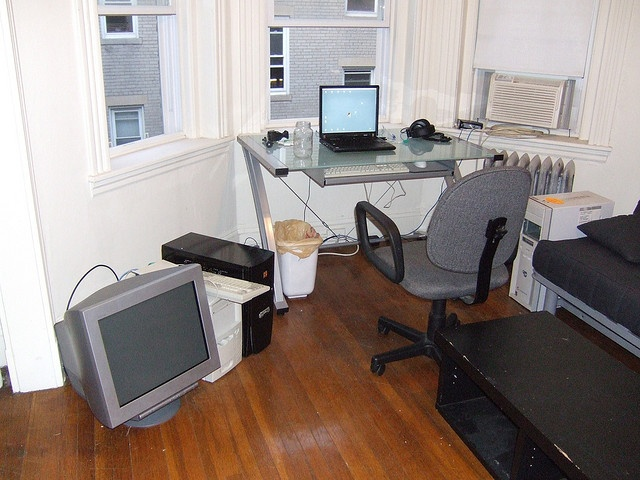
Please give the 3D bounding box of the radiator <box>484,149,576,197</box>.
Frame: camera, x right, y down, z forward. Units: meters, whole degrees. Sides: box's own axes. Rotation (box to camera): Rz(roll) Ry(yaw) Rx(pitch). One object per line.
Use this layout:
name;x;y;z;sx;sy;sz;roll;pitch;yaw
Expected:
radiator;1.580;-0.484;3.820;0.497;0.573;0.157;-2;-1;7

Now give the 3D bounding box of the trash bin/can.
trash bin/can;-0.151;0.130;3.536;0.390;0.571;0.512;-4;24;-8

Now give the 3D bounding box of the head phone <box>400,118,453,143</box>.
head phone;0.765;-0.767;3.515;0.255;0.124;0.180;37;34;31

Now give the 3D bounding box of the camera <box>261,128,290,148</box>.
camera;-0.309;-0.679;3.321;0.198;0.102;0.101;-24;40;-34

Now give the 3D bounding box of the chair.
chair;0.633;0.117;2.756;0.811;1.274;0.851;1;23;1

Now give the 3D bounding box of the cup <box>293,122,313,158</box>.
cup;-0.109;-0.624;3.073;0.123;0.172;0.320;-1;24;-3
